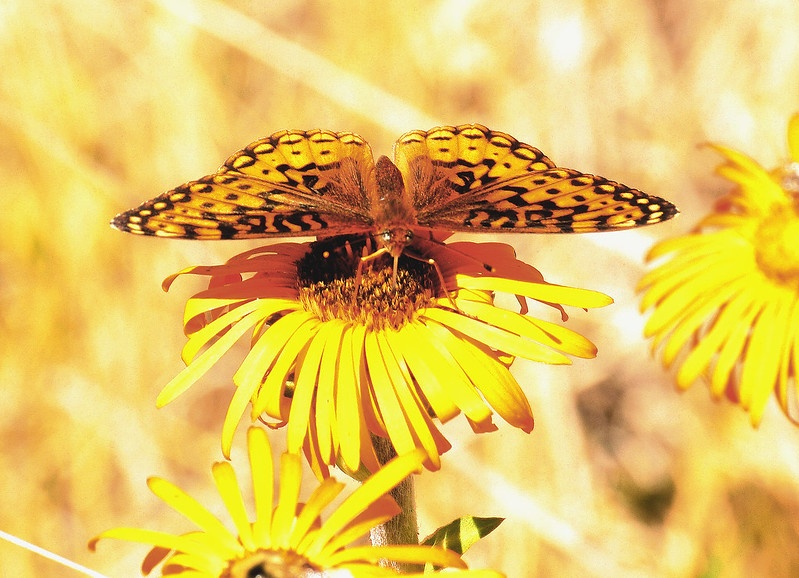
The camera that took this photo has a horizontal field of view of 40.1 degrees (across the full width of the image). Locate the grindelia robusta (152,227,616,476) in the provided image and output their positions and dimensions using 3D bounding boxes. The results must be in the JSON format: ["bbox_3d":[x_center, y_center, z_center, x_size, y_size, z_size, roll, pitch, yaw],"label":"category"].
[{"bbox_3d":[-0.109,0.148,1.867,0.804,0.216,0.745,1,-2,-36],"label":"grindelia robusta"}]
